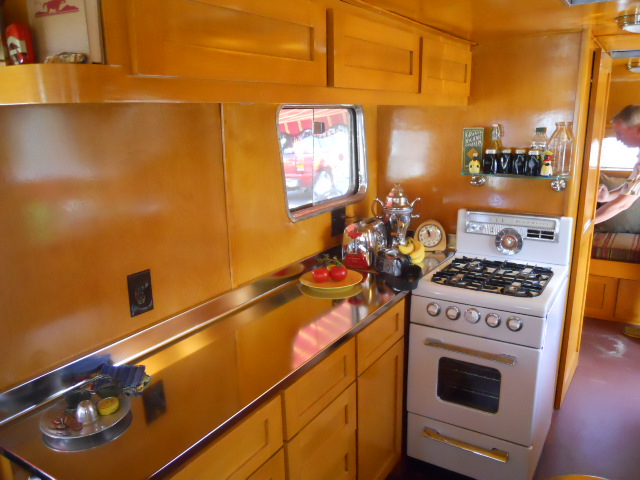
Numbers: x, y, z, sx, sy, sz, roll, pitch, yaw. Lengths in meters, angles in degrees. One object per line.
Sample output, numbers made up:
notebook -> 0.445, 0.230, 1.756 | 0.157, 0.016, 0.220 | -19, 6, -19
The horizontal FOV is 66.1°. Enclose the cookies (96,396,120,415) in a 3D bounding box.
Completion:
cookies -> -0.693, 0.542, 1.613 | 0.047, 0.012, 0.047 | -8, 17, -34

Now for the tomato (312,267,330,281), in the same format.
tomato -> 0.010, 0.179, 2.535 | 0.067, 0.067, 0.069 | 15, 35, 30

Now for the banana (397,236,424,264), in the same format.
banana -> 0.554, 0.070, 2.953 | 0.125, 0.062, 0.163 | 4, 36, -18

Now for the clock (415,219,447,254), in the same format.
clock -> 0.730, -0.023, 3.192 | 0.217, 0.231, 0.051 | 17, -9, 19

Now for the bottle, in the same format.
bottle -> 1.199, -0.525, 2.838 | 0.476, 0.308, 0.201 | 6, 19, 18

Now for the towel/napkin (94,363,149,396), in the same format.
towel/napkin -> -0.707, 0.482, 1.760 | 0.216, 0.071, 0.118 | 12, 21, 32

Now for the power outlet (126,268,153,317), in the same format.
power outlet -> -0.709, 0.209, 1.956 | 0.122, 0.170, 0.017 | -15, -11, 17

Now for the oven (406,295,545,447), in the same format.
oven -> 0.933, 0.732, 2.745 | 0.683, 0.811, 0.583 | 4, 1, 39

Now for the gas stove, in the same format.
gas stove -> 0.903, 0.240, 2.566 | 0.465, 0.072, 0.445 | 5, 20, 37

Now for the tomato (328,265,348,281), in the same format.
tomato -> 0.101, 0.171, 2.571 | 0.097, 0.078, 0.094 | -1, 18, -3
